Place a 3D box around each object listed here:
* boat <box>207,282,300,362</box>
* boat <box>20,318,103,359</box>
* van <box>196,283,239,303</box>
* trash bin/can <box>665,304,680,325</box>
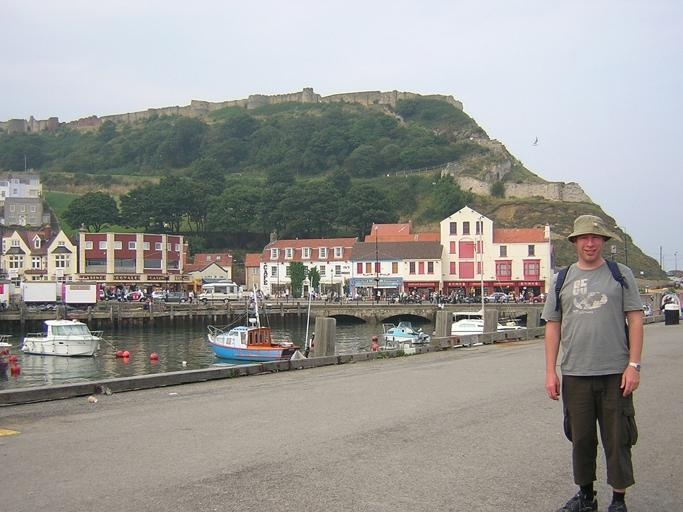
[{"bbox_3d":[-4.894,3.650,46.980,6.076,3.770,2.111,-2,1,40],"label":"boat"},{"bbox_3d":[-16.062,4.697,51.788,5.660,2.201,2.151,-1,0,32],"label":"boat"},{"bbox_3d":[-11.109,3.335,82.188,2.852,1.475,1.773,2,-4,-12],"label":"van"},{"bbox_3d":[16.377,2.896,44.348,0.706,1.009,0.666,-2,-4,-7],"label":"trash bin/can"}]
